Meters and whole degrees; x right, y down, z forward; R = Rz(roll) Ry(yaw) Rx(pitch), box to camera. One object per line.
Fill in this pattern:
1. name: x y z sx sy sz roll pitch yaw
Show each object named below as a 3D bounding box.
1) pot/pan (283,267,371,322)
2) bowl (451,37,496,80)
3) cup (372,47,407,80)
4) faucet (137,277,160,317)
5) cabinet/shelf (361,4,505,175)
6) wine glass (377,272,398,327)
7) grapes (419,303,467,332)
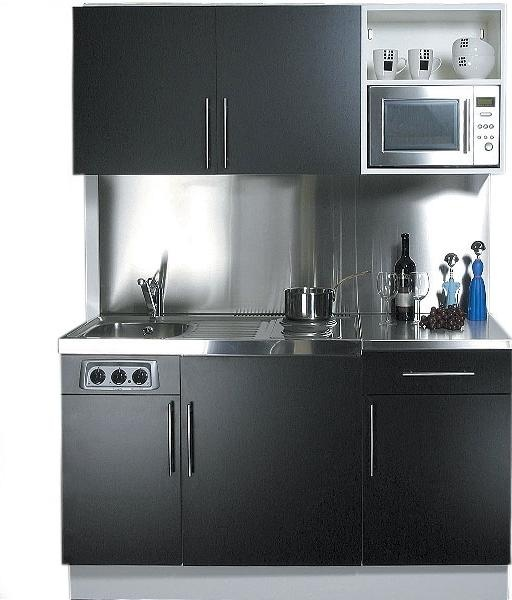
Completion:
1. pot/pan: 0.284 -0.026 2.377 0.326 0.281 0.207 0 1 -1
2. bowl: 0.867 -0.960 2.315 0.120 0.156 0.173 -1 12 7
3. cup: 0.563 -0.973 2.436 0.153 0.158 0.117 -2 9 -5
4. faucet: -0.470 -0.011 2.629 0.076 0.176 0.087 0 2 8
5. cabinet/shelf: 0.713 -0.826 2.318 0.500 0.810 0.345 0 -1 6
6. wine glass: 0.562 -0.013 2.514 0.078 0.209 0.276 0 3 13
7. grapes: 0.730 0.054 2.307 0.087 0.074 0.140 0 5 -1
